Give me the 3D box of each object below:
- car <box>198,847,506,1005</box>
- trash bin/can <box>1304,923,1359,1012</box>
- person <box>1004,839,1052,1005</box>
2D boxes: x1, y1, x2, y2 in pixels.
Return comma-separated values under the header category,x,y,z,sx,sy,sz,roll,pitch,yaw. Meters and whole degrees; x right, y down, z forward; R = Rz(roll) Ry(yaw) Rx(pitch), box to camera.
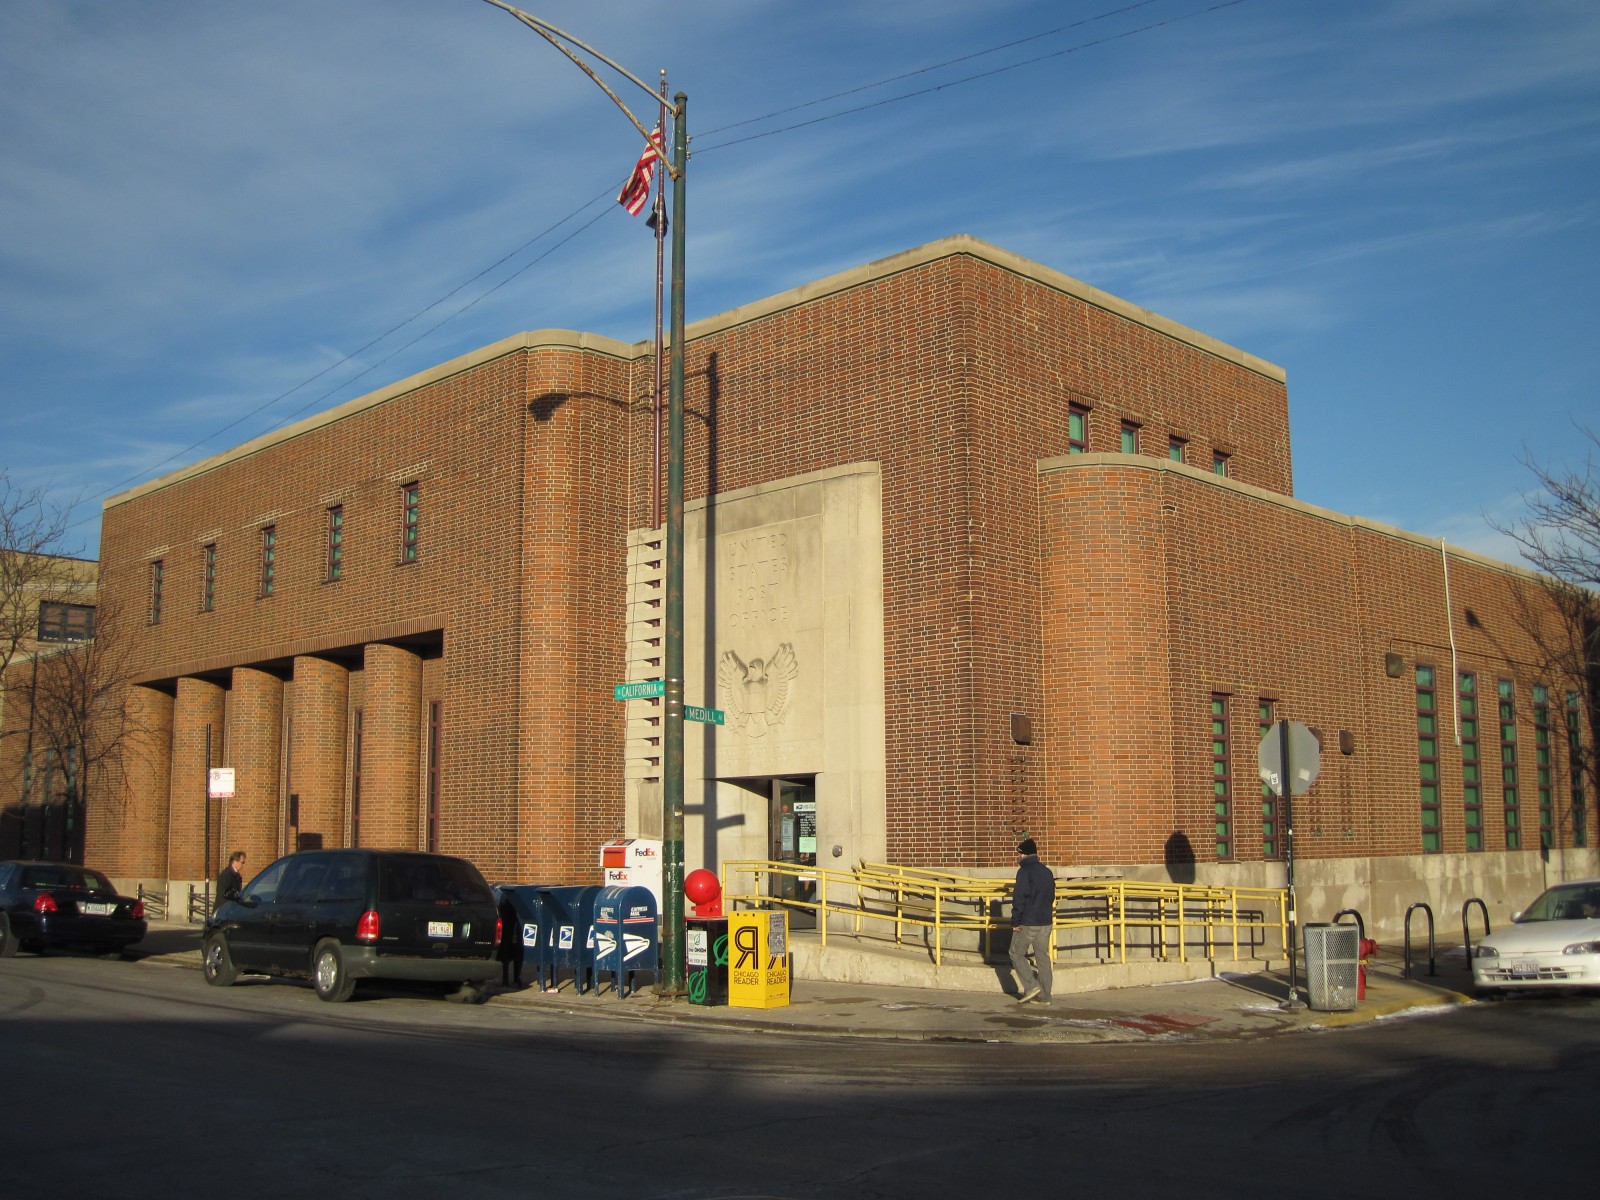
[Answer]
category,x,y,z,sx,sy,sz,roll,pitch,yaw
car,-7.018,4.845,28.846,4.930,2.187,1.935,-9,-17,26
trash bin/can,7.379,5.115,27.246,0.749,1.232,0.691,-6,-16,13
person,3.342,4.680,28.377,0.676,2.290,1.577,-4,-16,6
